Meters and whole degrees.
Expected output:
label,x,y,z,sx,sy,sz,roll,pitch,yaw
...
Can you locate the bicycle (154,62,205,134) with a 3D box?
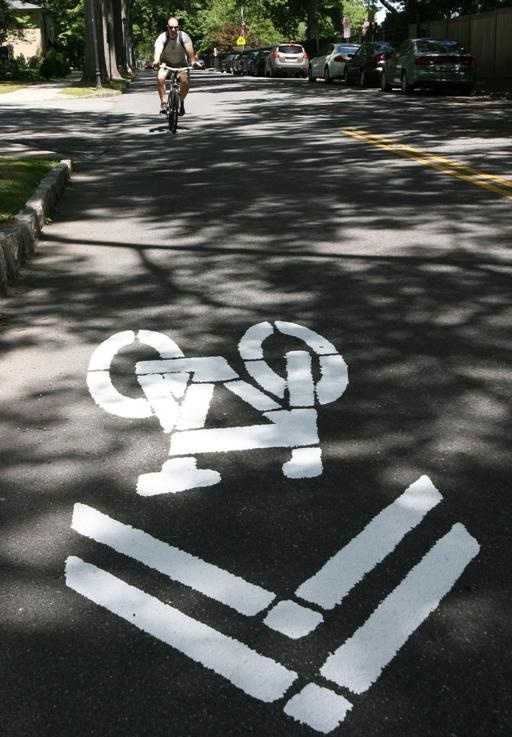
label,x,y,z,sx,sy,sz,roll,pitch,yaw
bicycle,-2.113,-7.341,17.399,0.995,1.185,1.997,-1,36,-11
